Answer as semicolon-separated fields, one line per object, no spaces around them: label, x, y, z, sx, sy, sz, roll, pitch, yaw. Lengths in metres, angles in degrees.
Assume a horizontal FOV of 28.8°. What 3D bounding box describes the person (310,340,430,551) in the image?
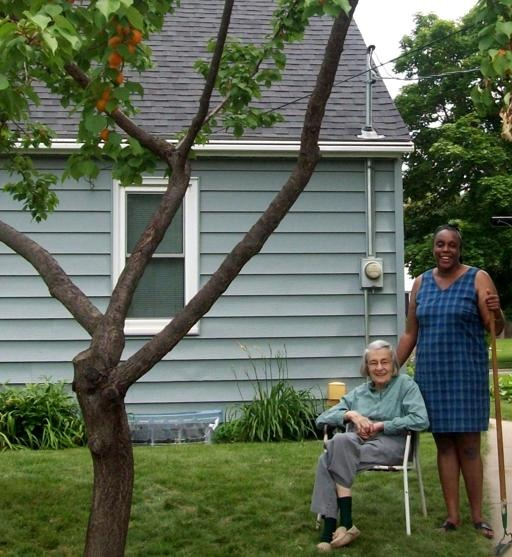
person;0.641;1.053;6.399;0.792;1.187;0.577;-3;7;-29

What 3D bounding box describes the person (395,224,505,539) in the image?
person;1.419;0.704;6.742;0.746;1.923;0.710;-1;-3;25

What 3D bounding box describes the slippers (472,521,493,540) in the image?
slippers;1.448;1.614;6.255;0.048;0.045;0.131;1;2;-11

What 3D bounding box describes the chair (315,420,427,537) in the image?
chair;0.799;1.294;6.630;0.693;0.679;0.641;4;2;12

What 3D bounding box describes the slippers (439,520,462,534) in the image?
slippers;1.243;1.611;6.326;0.136;0.050;0.047;6;-11;-25
